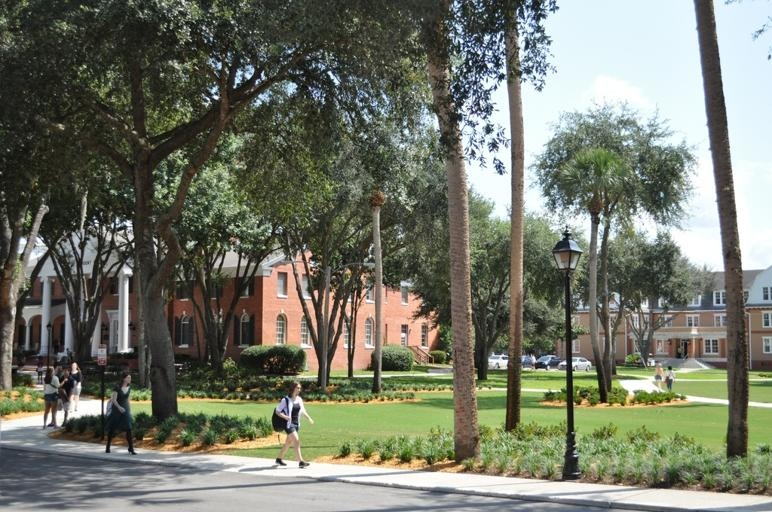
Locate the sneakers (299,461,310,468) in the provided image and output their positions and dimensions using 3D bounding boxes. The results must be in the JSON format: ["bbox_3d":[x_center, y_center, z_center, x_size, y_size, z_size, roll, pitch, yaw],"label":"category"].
[{"bbox_3d":[-2.415,6.244,25.094,0.314,0.160,0.120,2,-3,-22],"label":"sneakers"}]

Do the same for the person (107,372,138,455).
[{"bbox_3d":[-8.494,5.071,26.859,0.995,2.559,0.654,-7,-9,34],"label":"person"}]
